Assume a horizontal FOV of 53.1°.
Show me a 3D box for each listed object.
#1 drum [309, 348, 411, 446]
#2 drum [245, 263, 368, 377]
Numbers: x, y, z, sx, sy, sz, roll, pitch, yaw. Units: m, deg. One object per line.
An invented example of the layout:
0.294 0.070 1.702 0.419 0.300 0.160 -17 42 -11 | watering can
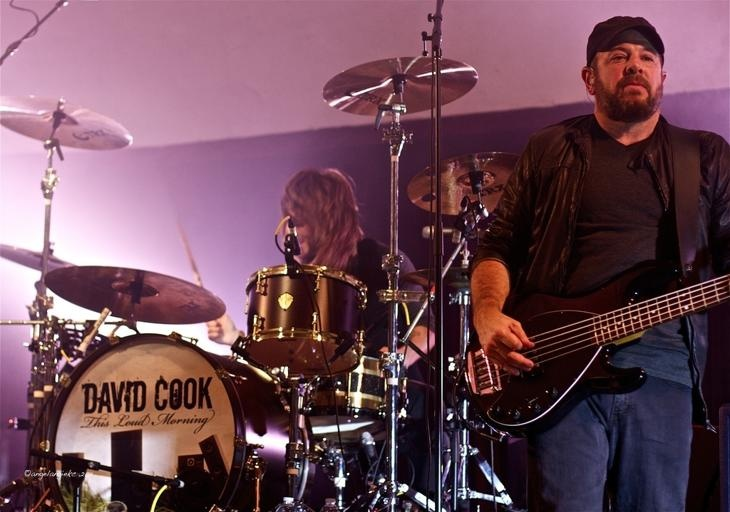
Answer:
-0.113 0.930 4.847 0.602 0.452 0.653 3 -30 2 | drum
-0.330 0.396 4.500 0.687 0.426 0.709 3 -27 2 | drum
